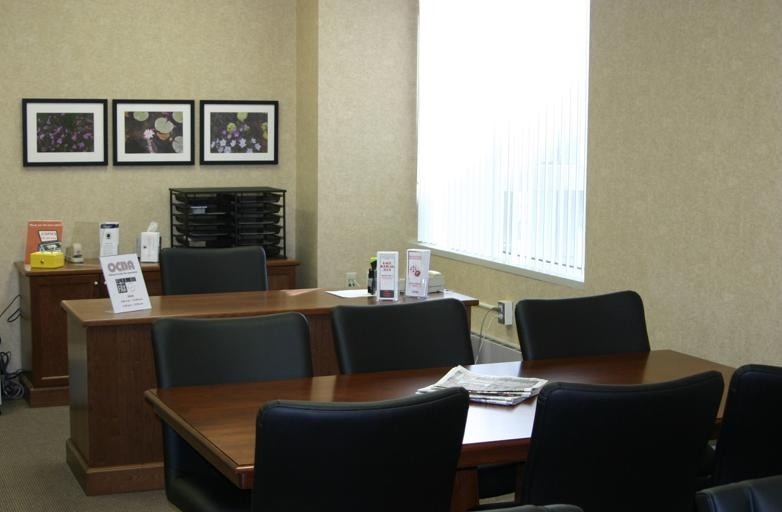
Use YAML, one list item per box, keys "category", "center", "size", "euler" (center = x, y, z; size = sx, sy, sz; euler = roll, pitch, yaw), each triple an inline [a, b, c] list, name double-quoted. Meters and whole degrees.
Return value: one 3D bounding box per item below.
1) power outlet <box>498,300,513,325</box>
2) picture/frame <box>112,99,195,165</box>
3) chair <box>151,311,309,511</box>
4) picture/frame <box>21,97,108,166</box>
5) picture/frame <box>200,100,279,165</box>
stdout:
- category: "power outlet"
  center: [0.877, 0.426, 5.030]
  size: [0.099, 0.182, 0.190]
  euler: [1, -2, -12]
- category: "picture/frame"
  center: [-2.177, -1.132, 5.886]
  size: [0.627, 0.508, 0.040]
  euler: [-1, 2, -23]
- category: "chair"
  center: [-0.729, 0.627, 2.971]
  size: [0.760, 0.811, 0.692]
  euler: [2, -6, -28]
- category: "picture/frame"
  center: [-2.865, -1.091, 5.664]
  size: [0.626, 0.505, 0.046]
  euler: [-2, 7, -19]
- category: "picture/frame"
  center: [-1.456, -1.175, 6.104]
  size: [0.634, 0.508, 0.041]
  euler: [-2, 7, -17]
